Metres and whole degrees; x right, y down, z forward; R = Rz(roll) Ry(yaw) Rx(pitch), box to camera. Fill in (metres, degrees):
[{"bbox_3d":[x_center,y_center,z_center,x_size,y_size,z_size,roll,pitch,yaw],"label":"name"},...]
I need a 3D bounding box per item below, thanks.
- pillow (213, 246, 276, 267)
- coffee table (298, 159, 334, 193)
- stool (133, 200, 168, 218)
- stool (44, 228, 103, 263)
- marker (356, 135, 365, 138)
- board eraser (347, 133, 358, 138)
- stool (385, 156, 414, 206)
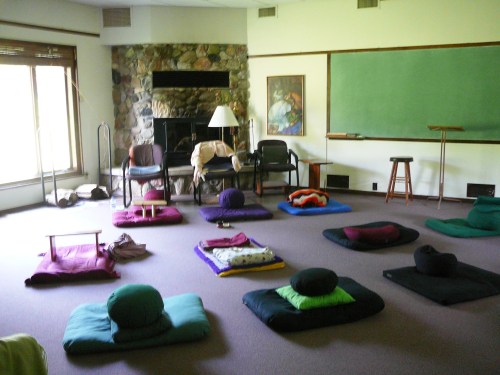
[{"bbox_3d":[-0.053,0.774,4.284,0.314,0.105,0.327,-4,4,-18],"label":"pillow"},{"bbox_3d":[1.317,-0.241,7.585,0.579,0.603,0.589,-5,12,-32],"label":"coffee table"},{"bbox_3d":[-1.620,0.283,6.136,0.469,0.250,0.693,-6,11,-17],"label":"stool"},{"bbox_3d":[-2.041,0.640,4.480,0.591,0.309,0.412,-7,11,-24],"label":"stool"},{"bbox_3d":[2.122,-0.983,7.367,0.172,0.064,0.053,4,10,21],"label":"marker"},{"bbox_3d":[1.984,-1.006,7.393,0.154,0.057,0.089,0,16,11],"label":"board eraser"},{"bbox_3d":[2.730,-0.165,6.945,0.552,0.802,0.561,-5,13,-9],"label":"stool"}]
